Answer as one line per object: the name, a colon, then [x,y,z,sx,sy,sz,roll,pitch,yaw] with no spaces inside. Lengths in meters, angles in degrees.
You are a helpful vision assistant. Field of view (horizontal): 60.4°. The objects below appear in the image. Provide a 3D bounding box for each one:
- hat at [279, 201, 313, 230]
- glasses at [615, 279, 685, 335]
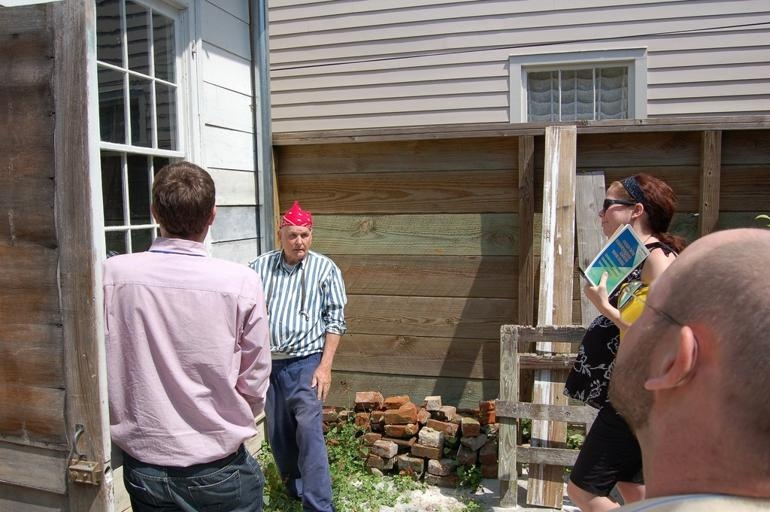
hat: [-0.700,-0.309,5.026,0.219,0.230,0.315,1,-2,-2]
glasses: [0.977,0.185,2.435,0.250,0.082,0.241,42,12,28]
